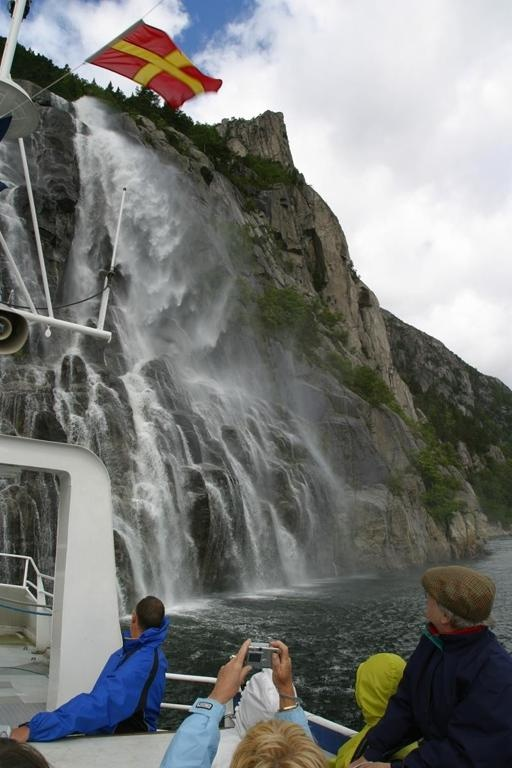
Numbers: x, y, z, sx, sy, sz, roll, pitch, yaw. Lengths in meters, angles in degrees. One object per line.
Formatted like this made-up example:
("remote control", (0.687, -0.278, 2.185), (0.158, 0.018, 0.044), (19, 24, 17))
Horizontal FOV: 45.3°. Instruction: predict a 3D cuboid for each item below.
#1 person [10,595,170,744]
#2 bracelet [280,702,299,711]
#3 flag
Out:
("person", (-0.757, 1.520, 3.307), (0.544, 0.672, 0.975), (3, -2, 16))
("bracelet", (0.136, 1.350, 2.584), (0.057, 0.021, 0.044), (-8, -7, 25))
("flag", (-1.587, -4.701, 9.562), (1.520, 0.730, 1.174), (14, -12, -41))
